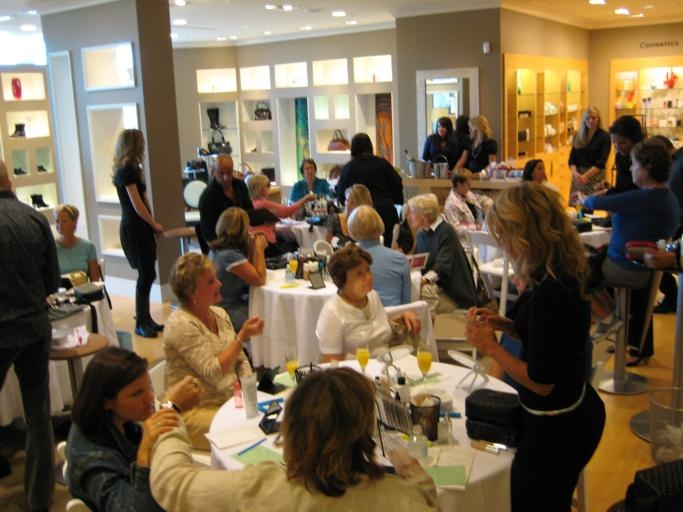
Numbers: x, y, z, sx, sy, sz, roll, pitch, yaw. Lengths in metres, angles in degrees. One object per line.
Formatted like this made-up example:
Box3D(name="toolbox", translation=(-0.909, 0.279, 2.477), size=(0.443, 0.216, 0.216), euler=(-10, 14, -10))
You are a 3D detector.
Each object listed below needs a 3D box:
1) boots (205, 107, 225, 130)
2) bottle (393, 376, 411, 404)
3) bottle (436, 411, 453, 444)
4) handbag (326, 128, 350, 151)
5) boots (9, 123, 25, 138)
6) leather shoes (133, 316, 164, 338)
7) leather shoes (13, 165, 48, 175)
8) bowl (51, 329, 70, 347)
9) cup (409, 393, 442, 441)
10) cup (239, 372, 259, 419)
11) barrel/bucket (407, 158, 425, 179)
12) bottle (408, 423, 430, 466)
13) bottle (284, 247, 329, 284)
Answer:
Box3D(name="boots", translation=(-2.637, -2.853, 11.604), size=(0.434, 0.545, 0.263), euler=(-7, 18, -22))
Box3D(name="bottle", translation=(0.252, 0.608, 2.525), size=(0.058, 0.194, 0.096), euler=(-2, 3, 19))
Box3D(name="bottle", translation=(0.438, 0.757, 2.512), size=(0.090, 0.184, 0.097), euler=(-1, 4, 0))
Box3D(name="handbag", translation=(-0.095, -2.253, 10.781), size=(0.542, 0.621, 0.227), euler=(9, 18, 26))
Box3D(name="boots", translation=(-4.547, -1.796, 7.996), size=(0.217, 0.243, 0.103), euler=(7, 8, 4))
Box3D(name="leather shoes", translation=(-1.937, 0.718, 5.669), size=(0.333, 0.265, 0.143), euler=(-2, 6, 10))
Box3D(name="leather shoes", translation=(-4.457, -1.248, 8.156), size=(0.425, 0.193, 0.134), euler=(-12, 13, -26))
Box3D(name="bowl", translation=(-1.886, 0.544, 3.795), size=(0.105, 0.061, 0.145), euler=(2, -1, -4))
Box3D(name="cup", translation=(0.341, 0.687, 2.449), size=(0.138, 0.176, 0.168), euler=(0, 15, 2))
Box3D(name="cup", translation=(-0.449, 0.656, 2.707), size=(0.079, 0.207, 0.157), euler=(-4, 10, -12))
Box3D(name="barrel/bucket", translation=(0.968, -1.190, 7.569), size=(0.165, 0.217, 0.278), euler=(-7, 13, -16))
Box3D(name="bottle", translation=(0.309, 0.790, 2.371), size=(0.085, 0.117, 0.143), euler=(-1, 10, 8))
Box3D(name="bottle", translation=(-0.290, 0.072, 4.539), size=(0.199, 0.193, 0.278), euler=(2, 13, 3))
